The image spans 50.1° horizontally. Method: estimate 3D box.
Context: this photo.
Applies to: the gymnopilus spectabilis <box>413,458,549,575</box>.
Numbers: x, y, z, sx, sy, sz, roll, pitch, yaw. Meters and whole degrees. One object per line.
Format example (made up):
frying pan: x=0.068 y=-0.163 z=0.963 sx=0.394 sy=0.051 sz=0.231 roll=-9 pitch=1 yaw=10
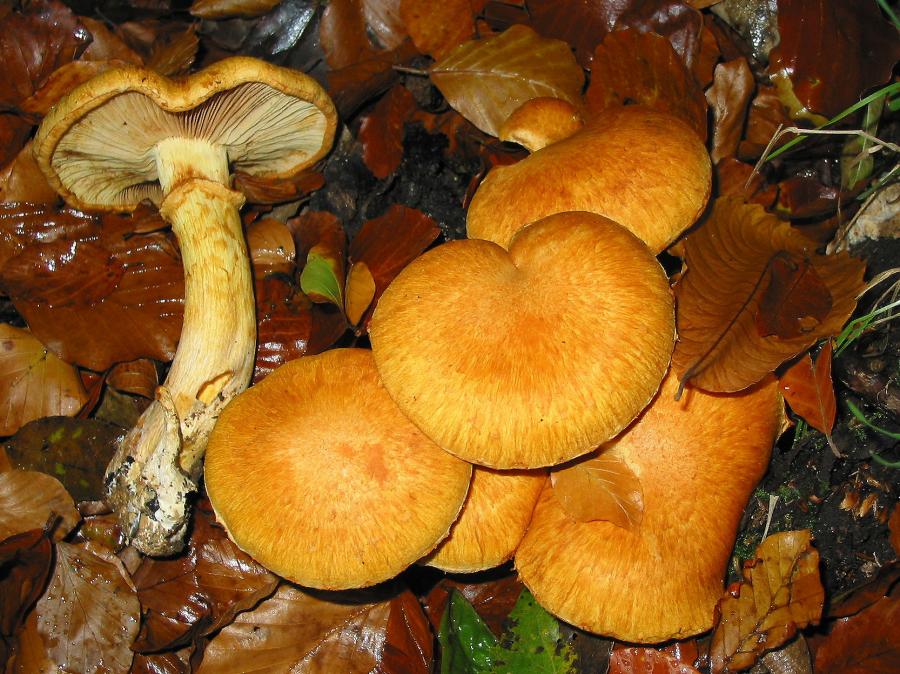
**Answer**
gymnopilus spectabilis: x=0.198 y=0.899 z=4.874 sx=0.457 sy=0.190 sz=0.592 roll=32 pitch=92 yaw=20
